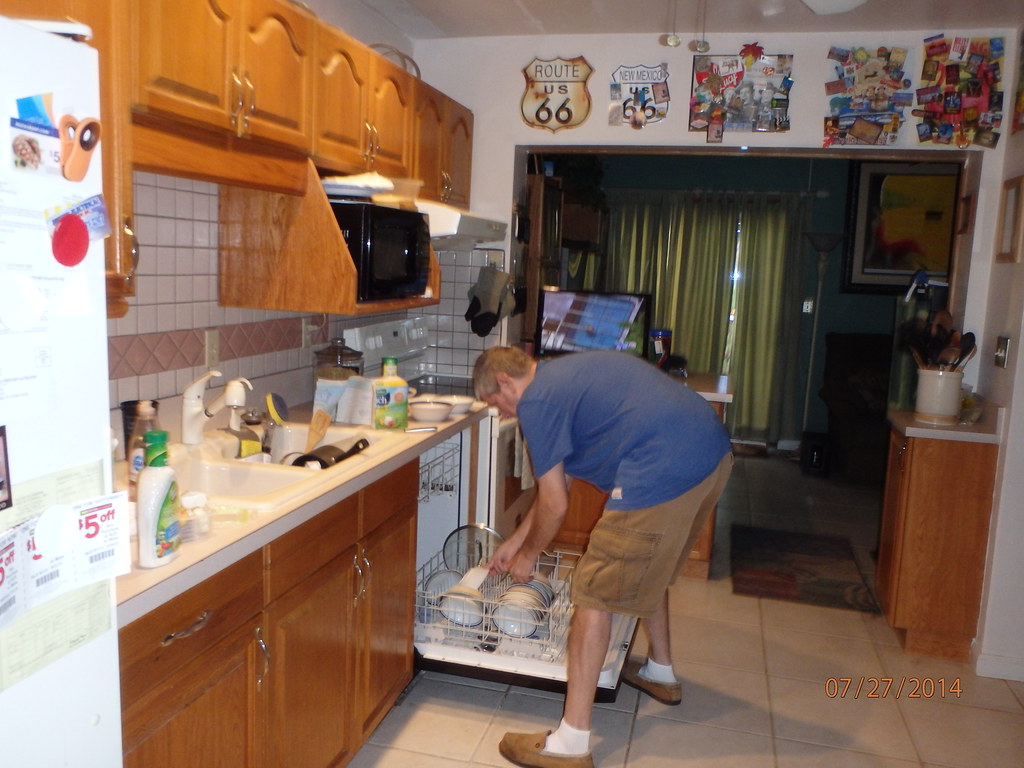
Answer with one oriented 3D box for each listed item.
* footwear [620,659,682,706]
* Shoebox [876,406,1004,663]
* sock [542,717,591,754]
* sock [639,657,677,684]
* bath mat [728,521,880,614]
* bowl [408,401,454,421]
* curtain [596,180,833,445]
[{"bbox_3d":[0.552,1.186,3.131,0.122,0.110,0.263,-7,24,-42],"label":"footwear"},{"bbox_3d":[1.879,0.659,3.633,0.405,1.061,0.635,3,5,17],"label":"Shoebox"},{"bbox_3d":[0.189,1.178,2.628,0.192,0.094,0.070,2,2,20],"label":"sock"},{"bbox_3d":[0.571,1.133,3.105,0.059,0.075,0.177,-4,11,-33],"label":"sock"},{"bbox_3d":[1.632,1.028,4.461,0.737,0.035,1.152,5,10,16],"label":"bath mat"},{"bbox_3d":[-0.324,0.109,3.124,0.187,0.085,0.129,-3,11,-24],"label":"bowl"},{"bbox_3d":[1.509,-0.587,5.399,1.851,2.560,0.294,2,7,10],"label":"curtain"}]
